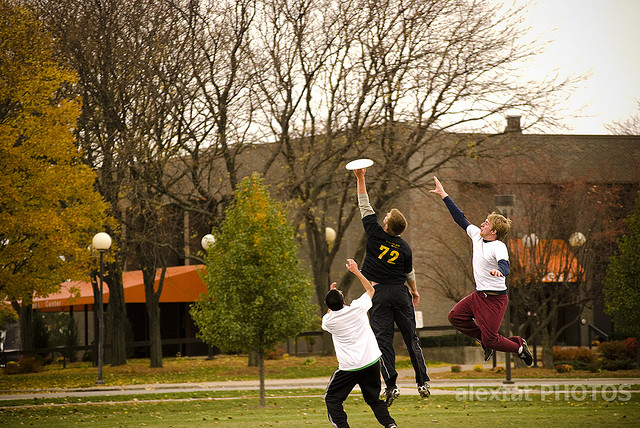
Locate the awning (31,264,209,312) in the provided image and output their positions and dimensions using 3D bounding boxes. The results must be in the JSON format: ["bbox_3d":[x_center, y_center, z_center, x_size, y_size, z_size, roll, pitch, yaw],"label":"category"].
[{"bbox_3d":[-12.689,4.715,71.143,6.830,2.100,12.445,0,-6,-27],"label":"awning"}]
